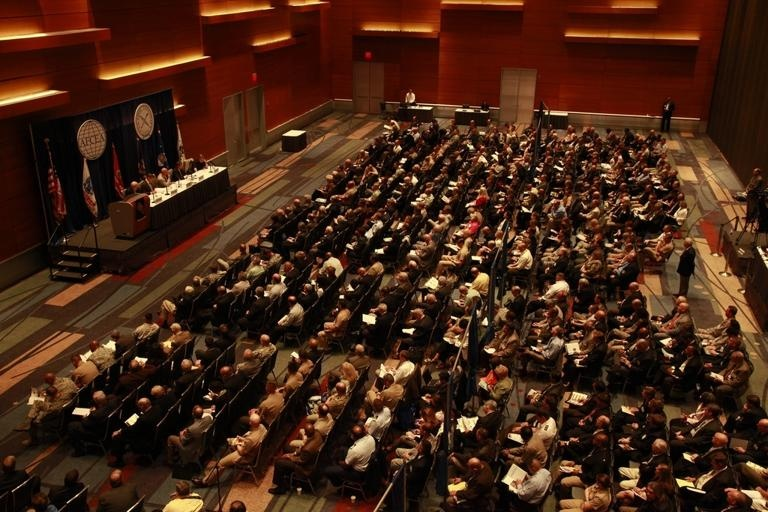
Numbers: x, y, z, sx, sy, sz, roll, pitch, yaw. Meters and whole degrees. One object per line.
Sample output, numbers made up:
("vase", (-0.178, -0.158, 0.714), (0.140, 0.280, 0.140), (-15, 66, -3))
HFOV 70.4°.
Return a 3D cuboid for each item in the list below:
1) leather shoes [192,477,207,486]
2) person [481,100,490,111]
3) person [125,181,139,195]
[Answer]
("leather shoes", (-4.184, 5.126, 12.299), (0.328, 0.130, 0.138), (10, 26, 18))
("person", (6.450, -9.715, 35.344), (0.653, 0.639, 1.814), (6, 26, 10))
("person", (-9.785, -2.598, 20.982), (0.307, 0.846, 0.288), (13, 32, -40))
